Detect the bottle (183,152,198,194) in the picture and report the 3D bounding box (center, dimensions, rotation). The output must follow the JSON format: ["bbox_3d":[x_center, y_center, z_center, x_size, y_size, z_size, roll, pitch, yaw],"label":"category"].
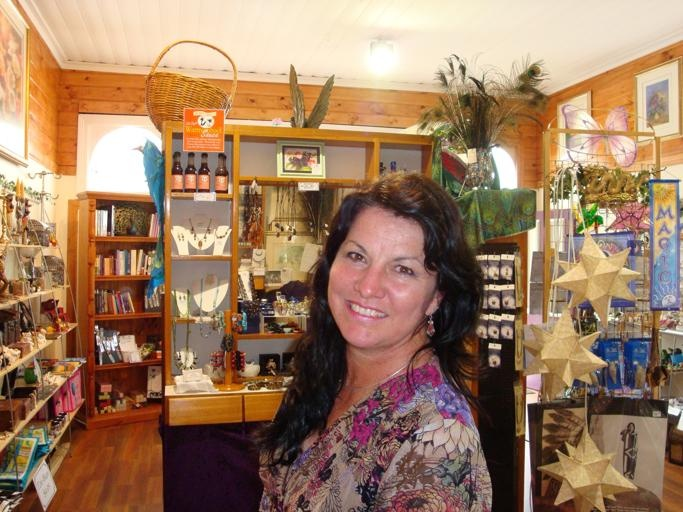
[{"bbox_3d":[-1.173,-0.636,4.142,0.100,0.314,0.148,0,-1,-25],"label":"bottle"}]

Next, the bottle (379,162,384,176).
[{"bbox_3d":[0.327,-0.722,4.387,0.062,0.084,0.087,0,0,-8],"label":"bottle"}]

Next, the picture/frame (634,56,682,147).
[{"bbox_3d":[3.656,-1.770,6.160,0.071,0.618,0.575,0,-1,-20],"label":"picture/frame"}]

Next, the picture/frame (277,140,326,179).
[{"bbox_3d":[-0.337,-0.757,4.239,0.277,0.232,0.023,0,-10,-11],"label":"picture/frame"}]

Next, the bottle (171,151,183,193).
[{"bbox_3d":[-1.268,-0.647,4.121,0.085,0.316,0.123,-1,-1,-19],"label":"bottle"}]

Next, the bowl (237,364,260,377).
[{"bbox_3d":[-0.712,0.906,4.203,0.111,0.074,0.088,-5,-6,27],"label":"bowl"}]

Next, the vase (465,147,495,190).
[{"bbox_3d":[1.056,-0.655,4.078,0.246,0.395,0.271,-1,6,26],"label":"vase"}]

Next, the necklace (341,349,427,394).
[{"bbox_3d":[0.168,0.486,2.156,0.190,0.237,0.263,-10,-9,-32],"label":"necklace"}]
